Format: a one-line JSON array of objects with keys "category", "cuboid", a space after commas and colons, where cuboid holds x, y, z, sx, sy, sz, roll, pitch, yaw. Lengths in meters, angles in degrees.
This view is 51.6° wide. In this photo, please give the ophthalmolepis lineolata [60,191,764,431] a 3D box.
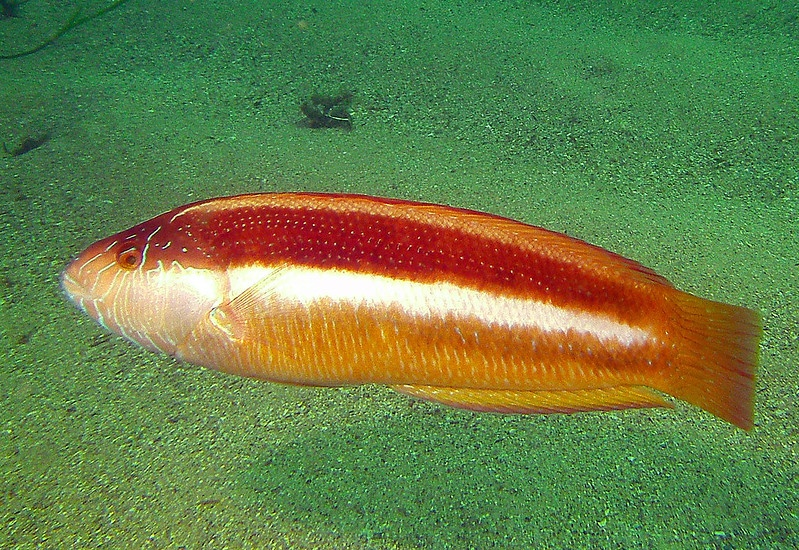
[{"category": "ophthalmolepis lineolata", "cuboid": [0.026, 0.089, 1.929, 1.654, 0.449, 0.470, 6, 96, 4]}]
